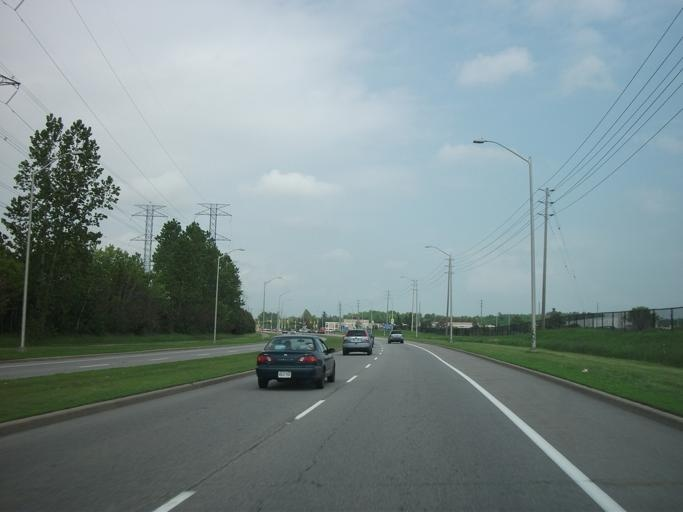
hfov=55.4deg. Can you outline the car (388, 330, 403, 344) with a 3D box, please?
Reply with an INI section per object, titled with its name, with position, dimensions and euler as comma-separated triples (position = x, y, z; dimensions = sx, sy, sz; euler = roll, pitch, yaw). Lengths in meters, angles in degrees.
[car]
position = 6.004, 9.002, 72.552
dimensions = 1.237, 1.042, 2.902
euler = -1, -13, 0
